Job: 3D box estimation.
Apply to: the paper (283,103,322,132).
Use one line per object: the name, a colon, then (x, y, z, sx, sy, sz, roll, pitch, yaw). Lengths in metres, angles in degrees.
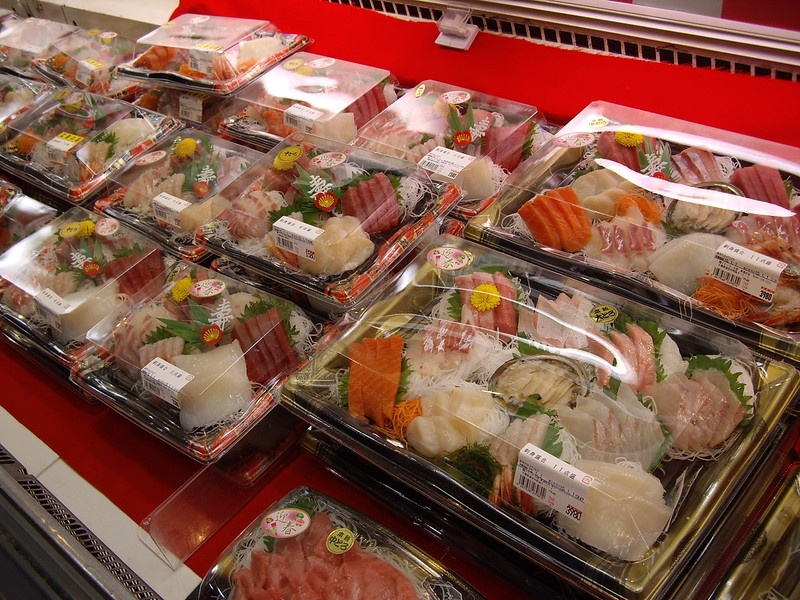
paper: (-0.595, -1.125, 3.189, 0.306, 0.155, 0.104, 30, 24, 28)

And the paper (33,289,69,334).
paper: (-1.792, 0.075, 2.663, 0.195, 0.177, 0.073, 32, 32, 8)

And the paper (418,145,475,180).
paper: (0.242, -0.730, 2.702, 0.269, 0.133, 0.216, 23, 21, 11)

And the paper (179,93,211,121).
paper: (-1.502, -1.395, 3.714, 0.267, 0.203, 0.058, 32, 25, 33)

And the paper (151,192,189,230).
paper: (-1.306, -0.510, 2.939, 0.150, 0.141, 0.089, 30, 44, 20)

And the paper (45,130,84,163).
paper: (-2.253, -1.025, 3.487, 0.329, 0.211, 0.174, 31, 24, 31)
